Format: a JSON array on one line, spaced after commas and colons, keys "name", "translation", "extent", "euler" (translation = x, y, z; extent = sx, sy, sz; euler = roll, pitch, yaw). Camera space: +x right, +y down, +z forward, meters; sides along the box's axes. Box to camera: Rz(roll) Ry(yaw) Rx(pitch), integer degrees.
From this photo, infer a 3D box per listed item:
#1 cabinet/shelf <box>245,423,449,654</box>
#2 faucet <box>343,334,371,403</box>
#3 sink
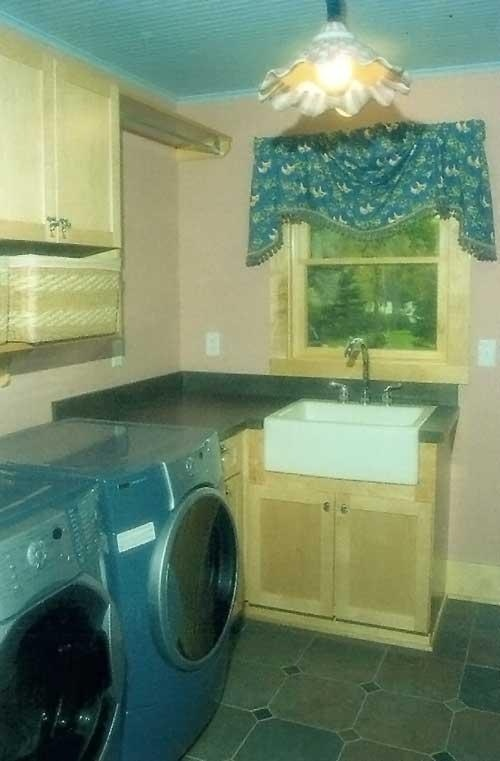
[{"name": "cabinet/shelf", "translation": [0.378, 0.511, 2.646], "extent": [0.734, 0.865, 0.495], "euler": [5, 20, 19]}, {"name": "faucet", "translation": [0.471, -0.046, 2.863], "extent": [0.109, 0.280, 0.306], "euler": [0, 4, 8]}, {"name": "sink", "translation": [0.394, 0.236, 2.595], "extent": [0.602, 0.245, 0.503], "euler": [1, 5, 22]}]
